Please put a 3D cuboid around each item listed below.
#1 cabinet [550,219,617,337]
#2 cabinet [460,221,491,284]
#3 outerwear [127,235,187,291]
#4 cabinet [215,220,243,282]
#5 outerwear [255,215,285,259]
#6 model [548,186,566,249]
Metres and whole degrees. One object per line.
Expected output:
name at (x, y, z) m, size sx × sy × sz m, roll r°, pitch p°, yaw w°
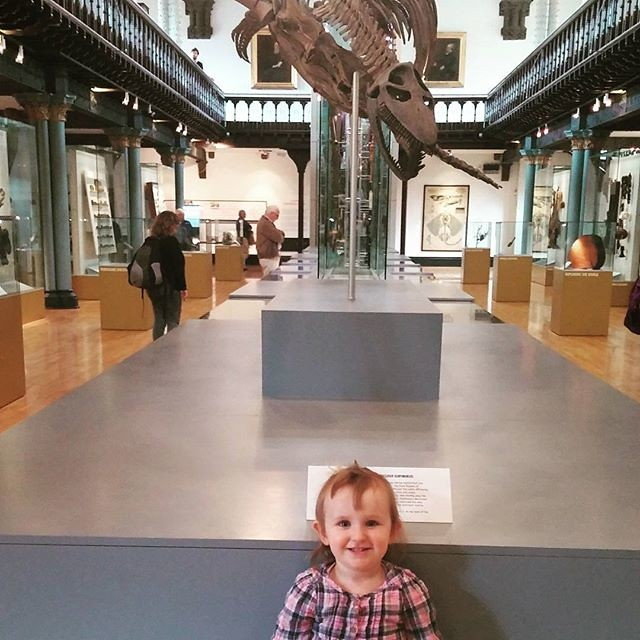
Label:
cabinet at (3.322, -0.451, 7.316) m, size 0.698 × 1.232 × 0.759 m, roll 2°, pitch 12°, yaw 8°
cabinet at (3.498, -1.471, 12.914) m, size 0.578 × 1.342 × 0.474 m, roll 4°, pitch 6°, yaw 26°
outerwear at (-1.367, -0.481, 4.901) m, size 0.520 × 0.486 × 0.388 m, roll 2°, pitch 3°, yaw -27°
cabinet at (-2.102, -1.473, 13.097) m, size 0.731 × 1.199 × 0.753 m, roll 0°, pitch -3°, yaw -24°
outerwear at (-0.742, -1.201, 8.564) m, size 0.434 × 0.659 × 0.536 m, roll -1°, pitch 6°, yaw -7°
model at (5.579, -2.405, 13.812) m, size 0.453 × 1.445 × 0.324 m, roll -7°, pitch 16°, yaw -28°
